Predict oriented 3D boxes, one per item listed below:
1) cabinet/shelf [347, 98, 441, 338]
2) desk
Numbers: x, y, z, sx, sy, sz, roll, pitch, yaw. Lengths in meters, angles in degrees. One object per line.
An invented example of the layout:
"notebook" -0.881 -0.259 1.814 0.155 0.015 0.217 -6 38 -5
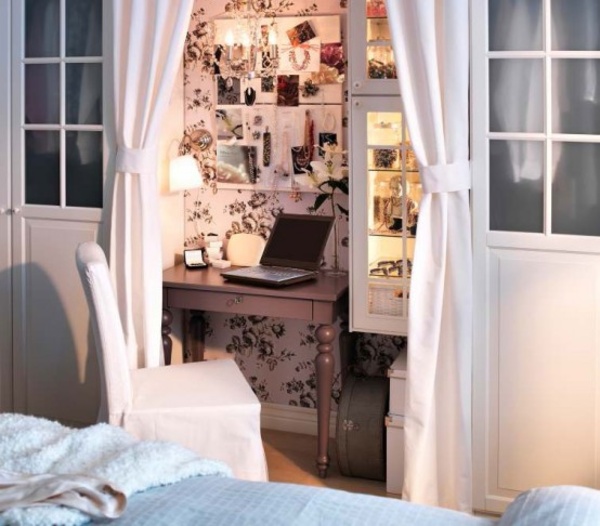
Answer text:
"cabinet/shelf" 0.374 -0.215 2.677 0.342 1.109 0.150 5 0 12
"desk" -0.253 0.538 3.230 0.997 1.004 0.662 3 8 14
